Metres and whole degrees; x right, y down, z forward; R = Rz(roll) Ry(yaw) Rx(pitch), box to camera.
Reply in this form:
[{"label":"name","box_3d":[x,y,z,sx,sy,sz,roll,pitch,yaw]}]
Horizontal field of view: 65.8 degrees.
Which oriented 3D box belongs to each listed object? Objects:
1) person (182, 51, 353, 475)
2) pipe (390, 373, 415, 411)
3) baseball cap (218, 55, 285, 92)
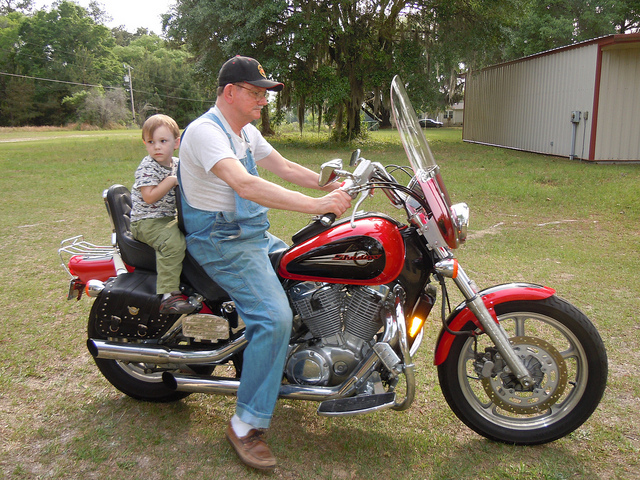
[{"label":"person","box_3d":[-0.455,0.107,3.643,0.941,2.781,1.145,-7,16,-21]},{"label":"pipe","box_3d":[0.612,1.090,3.544,0.168,0.384,0.110,10,18,37]},{"label":"baseball cap","box_3d":[-0.499,-1.197,3.574,0.466,0.245,0.210,-3,15,-8]}]
